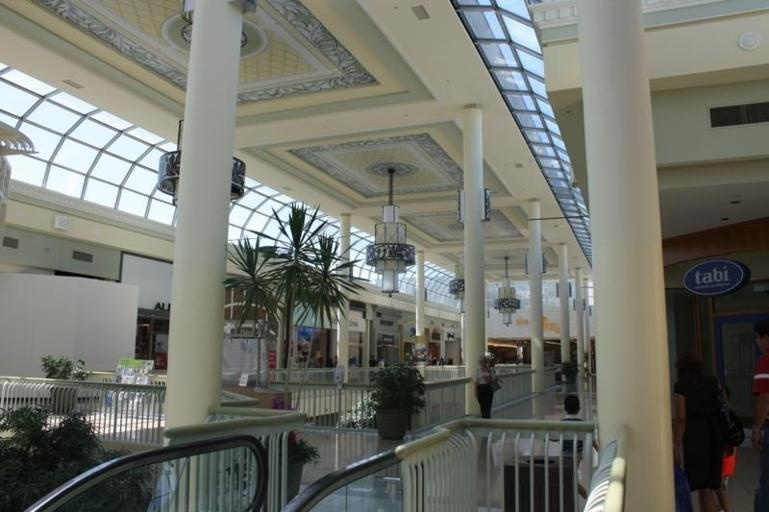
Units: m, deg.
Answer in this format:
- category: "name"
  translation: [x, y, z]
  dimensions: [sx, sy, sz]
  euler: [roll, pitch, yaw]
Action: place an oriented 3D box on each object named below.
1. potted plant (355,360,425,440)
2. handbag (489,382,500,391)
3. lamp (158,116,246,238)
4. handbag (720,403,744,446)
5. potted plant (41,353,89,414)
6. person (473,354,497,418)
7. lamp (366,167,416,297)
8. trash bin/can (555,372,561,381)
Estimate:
- category: "potted plant"
  translation: [0.226, 3.108, 11.752]
  dimensions: [1.465, 1.840, 1.341]
  euler: [1, -9, -1]
- category: "handbag"
  translation: [2.661, 3.138, 13.035]
  dimensions: [0.243, 0.188, 0.352]
  euler: [-10, -6, 29]
- category: "lamp"
  translation: [-4.356, -2.161, 12.355]
  dimensions: [2.003, 2.201, 1.960]
  euler: [-8, -14, -25]
- category: "handbag"
  translation: [4.161, 2.027, 6.539]
  dimensions: [0.202, 0.501, 0.437]
  euler: [-8, -15, 30]
- category: "potted plant"
  translation: [-8.786, 3.596, 15.266]
  dimensions: [1.183, 1.373, 1.025]
  euler: [6, -9, -14]
- category: "person"
  translation: [2.488, 3.193, 13.286]
  dimensions: [0.547, 1.456, 1.888]
  euler: [-3, -13, 9]
- category: "lamp"
  translation: [0.200, -0.378, 18.037]
  dimensions: [1.461, 2.981, 0.880]
  euler: [0, -13, -1]
- category: "trash bin/can"
  translation: [10.382, 7.142, 32.531]
  dimensions: [0.356, 0.448, 1.368]
  euler: [-4, -14, 16]
